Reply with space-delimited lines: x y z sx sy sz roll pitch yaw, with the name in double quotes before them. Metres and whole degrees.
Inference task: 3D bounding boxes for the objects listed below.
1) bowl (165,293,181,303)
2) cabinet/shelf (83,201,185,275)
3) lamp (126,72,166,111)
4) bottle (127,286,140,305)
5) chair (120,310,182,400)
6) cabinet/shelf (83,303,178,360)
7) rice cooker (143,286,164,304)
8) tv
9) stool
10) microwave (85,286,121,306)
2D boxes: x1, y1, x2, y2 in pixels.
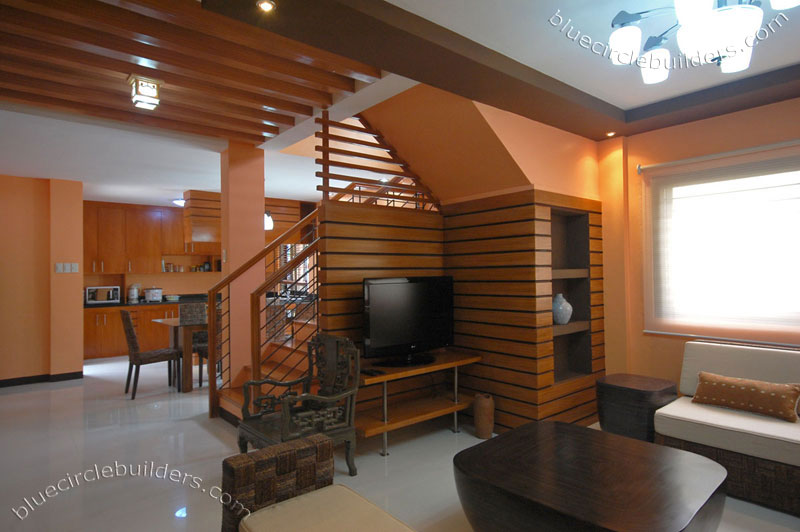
"bowl" -4.782 0.657 11.290 0.228 0.079 0.220 -3 5 0
"cabinet/shelf" -5.476 -0.597 10.875 1.518 1.201 0.498 2 -4 -38
"lamp" -2.568 -1.704 5.421 0.301 0.292 0.321 2 -15 -32
"bottle" -5.407 0.588 10.860 0.223 0.387 0.348 -6 -8 44
"chair" -3.691 1.207 7.947 0.729 1.315 1.441 -3 0 -28
"cabinet/shelf" -4.992 1.171 9.763 1.171 0.644 0.367 0 -5 -35
"rice cooker" -5.012 0.581 11.005 0.347 0.325 0.351 1 -1 42
"tv" 0.045 0.605 5.909 1.054 0.731 0.300 -2 3 -33
"stool" 2.468 1.389 5.633 0.573 0.564 0.803 -2 1 -39
"microwave" -5.914 0.563 10.693 0.594 0.360 0.412 2 -4 -42
